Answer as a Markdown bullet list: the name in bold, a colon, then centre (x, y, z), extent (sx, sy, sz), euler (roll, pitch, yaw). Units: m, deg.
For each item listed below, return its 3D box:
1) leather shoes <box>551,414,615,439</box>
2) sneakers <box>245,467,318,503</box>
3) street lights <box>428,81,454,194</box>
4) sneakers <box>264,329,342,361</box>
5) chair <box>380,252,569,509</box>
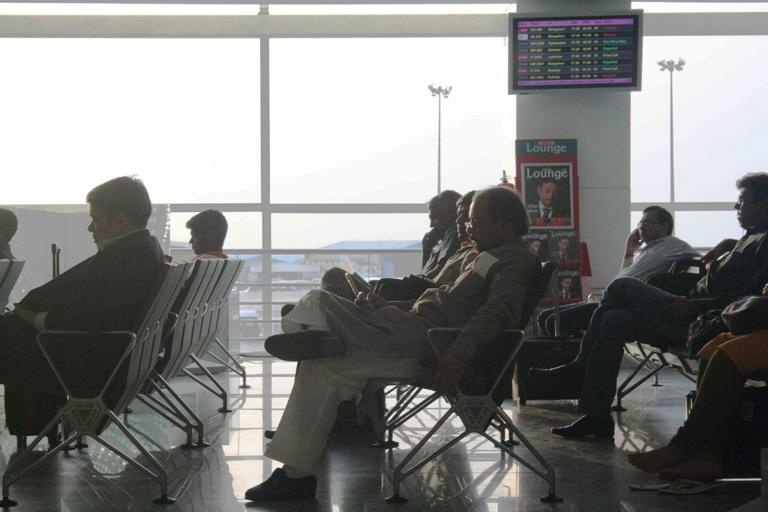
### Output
- **leather shoes**: centre (1.615, 1.379, 7.259), extent (0.549, 0.240, 0.170), euler (2, -7, 4)
- **sneakers**: centre (-0.697, 1.633, 6.372), extent (0.546, 0.236, 0.195), euler (2, -11, -6)
- **street lights**: centre (0.898, -1.901, 14.637), extent (0.349, 1.728, 0.622), euler (1, 1, 7)
- **sneakers**: centre (-0.547, 0.619, 6.208), extent (0.344, 0.139, 0.256), euler (-3, -7, 7)
- **chair**: centre (0.653, 0.886, 6.586), extent (1.220, 1.685, 0.851), euler (1, 1, 0)
